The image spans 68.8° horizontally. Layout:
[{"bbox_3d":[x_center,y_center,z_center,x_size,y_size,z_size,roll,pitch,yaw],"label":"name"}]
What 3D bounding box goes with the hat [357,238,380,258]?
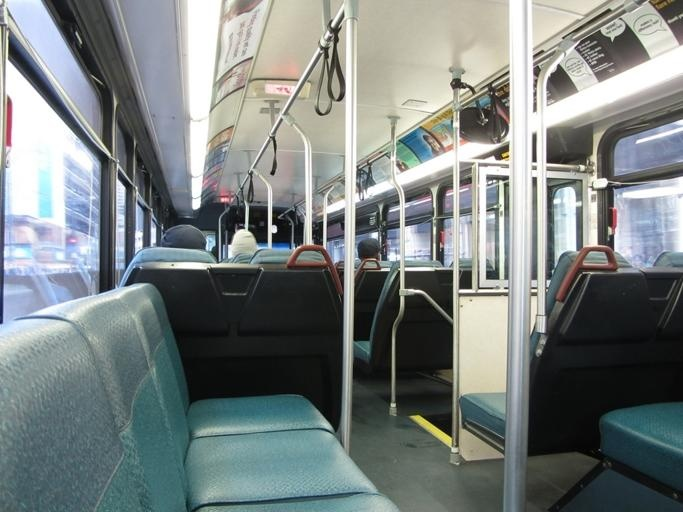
[{"bbox_3d":[0.328,-0.106,6.139,0.209,0.274,0.273,1,2,-2],"label":"hat"}]
